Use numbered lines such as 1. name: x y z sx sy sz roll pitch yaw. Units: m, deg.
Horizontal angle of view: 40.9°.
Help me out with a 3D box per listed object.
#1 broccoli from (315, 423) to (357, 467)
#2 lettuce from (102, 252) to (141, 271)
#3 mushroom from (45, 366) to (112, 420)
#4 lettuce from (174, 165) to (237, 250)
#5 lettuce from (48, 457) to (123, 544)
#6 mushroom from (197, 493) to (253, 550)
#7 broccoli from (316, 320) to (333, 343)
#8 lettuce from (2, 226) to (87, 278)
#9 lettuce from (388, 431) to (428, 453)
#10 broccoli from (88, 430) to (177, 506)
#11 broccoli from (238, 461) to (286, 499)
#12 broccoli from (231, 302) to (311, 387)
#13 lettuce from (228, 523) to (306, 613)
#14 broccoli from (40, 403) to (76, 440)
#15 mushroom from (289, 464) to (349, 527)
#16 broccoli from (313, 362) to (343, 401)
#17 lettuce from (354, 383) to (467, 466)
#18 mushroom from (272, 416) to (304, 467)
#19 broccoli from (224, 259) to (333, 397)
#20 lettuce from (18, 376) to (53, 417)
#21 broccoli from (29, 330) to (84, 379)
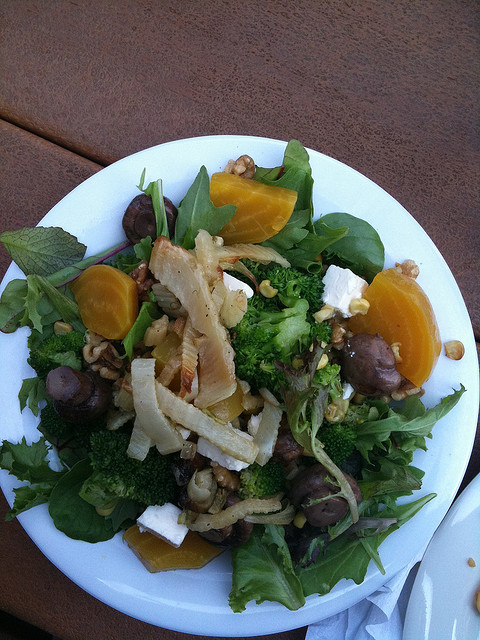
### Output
1. broccoli: 0.267 0.346 1.794 0.132 0.036 0.112 26 81 -8
2. lettuce: -0.337 -0.168 1.807 0.072 0.071 0.028 -21 96 -40
3. mushroom: -0.443 0.199 1.720 0.111 0.119 0.109 41 88 13
4. lettuce: -0.114 -0.299 1.740 0.184 0.068 0.231 5 105 0
5. lettuce: -0.410 0.490 1.701 0.088 0.349 0.209 27 69 -15
6. mushroom: -0.045 0.559 1.786 0.183 0.161 0.062 16 39 7
7. broccoli: 0.234 0.035 1.821 0.065 0.035 0.049 -1 84 -33
8. lettuce: -0.539 -0.192 1.784 0.215 0.081 0.129 -8 84 -2
9. lettuce: 0.463 0.342 1.801 0.081 0.028 0.065 -7 76 23
10. broccoli: -0.296 0.412 1.751 0.231 0.083 0.199 -13 105 10
11. broccoli: 0.053 0.442 1.767 0.125 0.051 0.086 -27 81 -10
12. broccoli: 0.075 0.078 1.799 0.222 0.109 0.213 -1 85 -7
13. lettuce: 0.061 0.687 1.824 0.270 0.104 0.223 -8 71 2
14. broccoli: -0.510 0.281 1.786 0.101 0.046 0.094 -8 86 -29
15. mushroom: 0.195 0.484 1.765 0.181 0.151 0.076 33 120 16
16. broccoli: 0.245 0.163 1.787 0.050 0.097 0.090 -28 104 -5
17. lettuce: 0.517 0.293 1.824 0.408 0.142 0.058 -16 111 -24
18. mushroom: 0.126 0.345 1.807 0.103 0.070 0.113 -4 79 35
19. broccoli: 0.095 0.036 1.778 0.375 0.133 0.354 10 78 -5
20. lettuce: -0.570 0.211 1.773 0.114 0.034 0.096 -10 97 -36
21. broccoli: -0.518 0.096 1.783 0.150 0.069 0.105 -41 95 -11
